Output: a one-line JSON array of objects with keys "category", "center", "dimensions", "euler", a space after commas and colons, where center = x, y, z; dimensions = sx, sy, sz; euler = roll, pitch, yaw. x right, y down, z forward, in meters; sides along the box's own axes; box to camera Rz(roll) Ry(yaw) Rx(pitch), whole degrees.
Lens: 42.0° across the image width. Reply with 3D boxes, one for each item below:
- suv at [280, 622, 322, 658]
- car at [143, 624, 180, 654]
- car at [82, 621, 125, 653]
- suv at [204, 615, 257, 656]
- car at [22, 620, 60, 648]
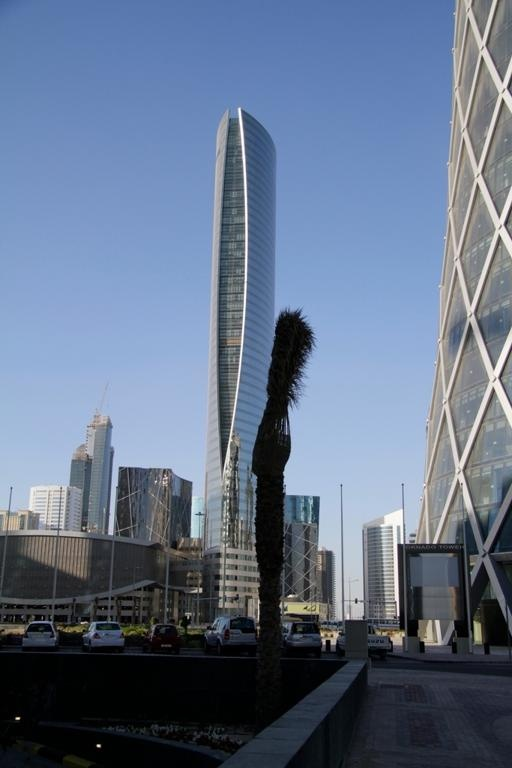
[{"category": "suv", "center": [2.028, 11.032, 28.971], "dimensions": [1.401, 1.403, 1.822], "euler": [2, -17, -4]}, {"category": "car", "center": [-4.461, 12.067, 31.798], "dimensions": [1.412, 1.189, 1.944], "euler": [10, -19, -27]}, {"category": "car", "center": [-6.670, 11.025, 29.303], "dimensions": [1.084, 1.073, 2.052], "euler": [6, -18, -16]}, {"category": "suv", "center": [-0.987, 10.714, 28.641], "dimensions": [1.438, 1.448, 3.044], "euler": [7, -19, -13]}, {"category": "car", "center": [-9.607, 11.190, 29.787], "dimensions": [1.415, 1.112, 1.130], "euler": [5, -17, -14]}]
